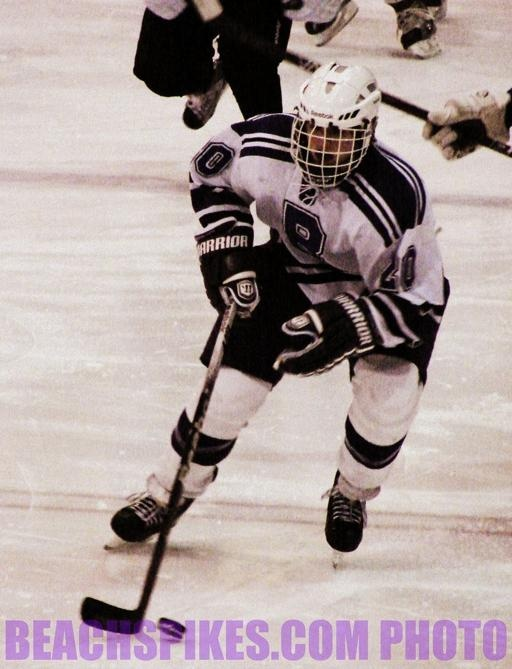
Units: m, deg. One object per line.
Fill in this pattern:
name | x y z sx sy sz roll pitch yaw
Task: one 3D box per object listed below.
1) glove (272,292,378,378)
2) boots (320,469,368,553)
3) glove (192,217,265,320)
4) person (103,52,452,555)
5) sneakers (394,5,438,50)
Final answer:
glove | 0.205 0.014 2.738 0.274 0.184 0.113 -24 -28 2
boots | 0.283 0.555 3.092 0.089 0.237 0.097 4 -30 -6
glove | -0.083 -0.191 2.935 0.176 0.272 0.126 -9 -12 19
person | 0.128 -0.049 2.885 0.810 1.433 0.422 10 9 8
sneakers | 0.539 -0.999 3.264 0.123 0.147 0.057 6 -4 -8
